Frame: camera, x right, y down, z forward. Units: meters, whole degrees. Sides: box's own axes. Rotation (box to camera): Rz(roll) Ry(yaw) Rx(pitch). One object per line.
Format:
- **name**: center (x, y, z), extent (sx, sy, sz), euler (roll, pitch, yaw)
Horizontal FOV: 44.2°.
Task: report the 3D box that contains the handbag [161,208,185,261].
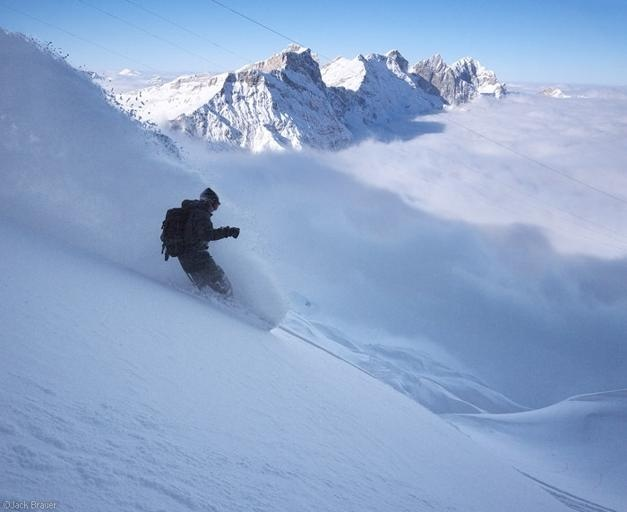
- **handbag**: center (-3.385, -0.627, 18.310), extent (0.668, 1.203, 0.816), euler (0, 6, -13)
